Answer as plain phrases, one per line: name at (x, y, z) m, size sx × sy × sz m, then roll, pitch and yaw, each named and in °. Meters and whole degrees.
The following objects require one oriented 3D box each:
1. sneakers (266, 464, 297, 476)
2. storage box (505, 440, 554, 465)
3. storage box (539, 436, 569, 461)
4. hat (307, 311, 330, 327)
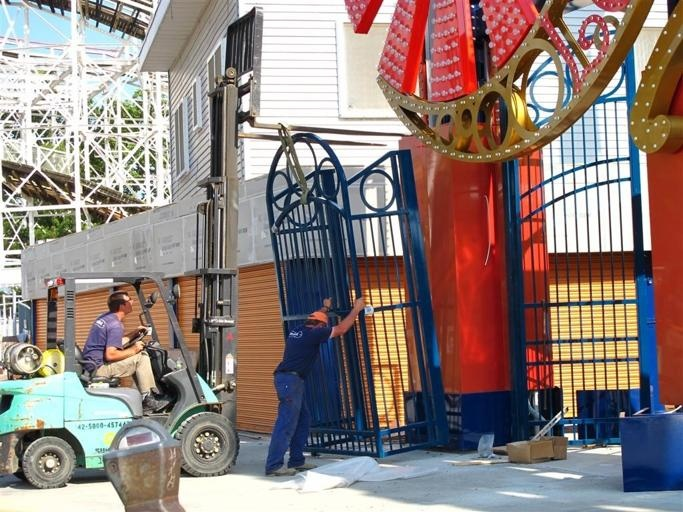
sneakers at (-0.747, 2.643, 12.018) m, size 0.365 × 0.144 × 0.147 m, roll -3°, pitch -1°, yaw -7°
storage box at (2.310, 2.366, 12.067) m, size 0.336 × 0.221 × 0.342 m, roll 0°, pitch -3°, yaw -32°
storage box at (2.680, 2.422, 12.320) m, size 0.259 × 0.278 × 0.280 m, roll 2°, pitch -7°, yaw -18°
hat at (-0.287, 0.796, 12.231) m, size 0.158 × 0.217 × 0.207 m, roll 8°, pitch 34°, yaw 34°
